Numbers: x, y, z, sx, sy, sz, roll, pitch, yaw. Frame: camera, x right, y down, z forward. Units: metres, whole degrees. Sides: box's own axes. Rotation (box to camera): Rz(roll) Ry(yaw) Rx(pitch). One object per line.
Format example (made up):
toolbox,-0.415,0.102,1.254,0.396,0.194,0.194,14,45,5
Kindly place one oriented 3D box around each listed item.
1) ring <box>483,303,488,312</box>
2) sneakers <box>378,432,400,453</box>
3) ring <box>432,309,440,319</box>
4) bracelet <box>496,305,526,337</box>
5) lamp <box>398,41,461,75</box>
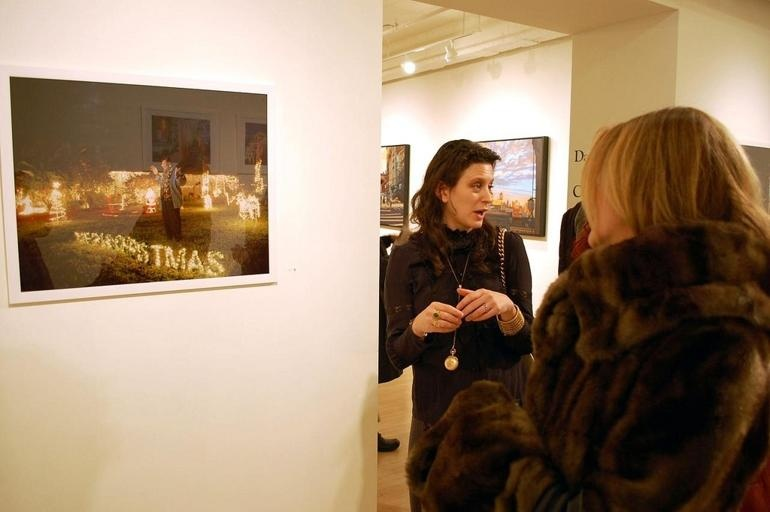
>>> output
ring,0.459,0.235,2.491,0.029,0.028,0.010,11,0,10
sneakers,-0.003,1.649,4.769,0.192,0.191,0.091,-10,24,-15
ring,0.223,0.270,2.492,0.026,0.036,0.011,0,-7,23
bracelet,0.608,0.320,2.637,0.138,0.107,0.145,-31,19,4
lamp,0.621,-2.894,7.837,0.738,0.413,0.494,-20,43,-8
